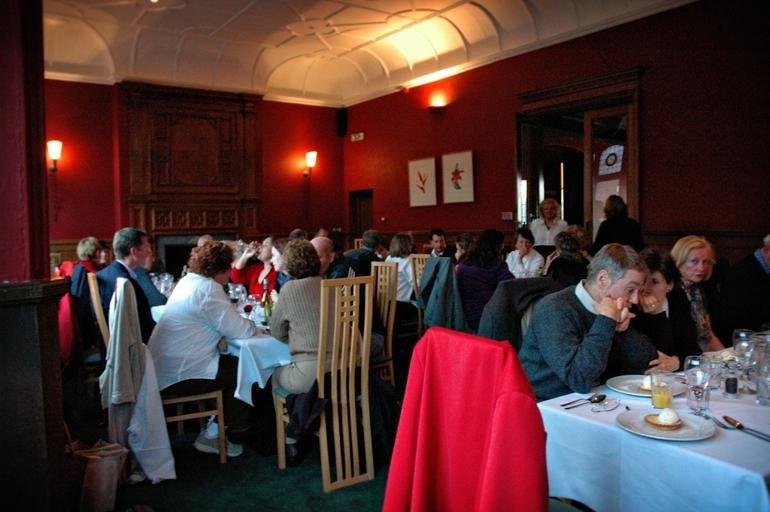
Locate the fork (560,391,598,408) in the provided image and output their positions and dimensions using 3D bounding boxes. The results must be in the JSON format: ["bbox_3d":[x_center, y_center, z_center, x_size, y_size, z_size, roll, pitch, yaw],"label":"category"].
[{"bbox_3d":[1.025,0.780,2.966,0.278,0.033,0.074,-4,7,-34],"label":"fork"}]

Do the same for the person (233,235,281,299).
[{"bbox_3d":[-1.308,0.143,5.717,0.366,0.936,0.294,-14,-27,31],"label":"person"}]

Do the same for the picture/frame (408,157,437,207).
[{"bbox_3d":[0.686,-1.336,10.095,0.072,1.159,0.827,4,-6,-41],"label":"picture/frame"}]

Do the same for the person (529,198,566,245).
[{"bbox_3d":[2.150,-0.455,7.563,0.703,0.696,0.392,-2,-3,35],"label":"person"}]

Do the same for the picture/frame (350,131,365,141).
[{"bbox_3d":[-0.565,-2.411,11.418,0.021,0.186,0.450,-4,4,-44],"label":"picture/frame"}]

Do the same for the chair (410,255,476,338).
[{"bbox_3d":[0.520,0.368,5.517,0.327,0.718,0.596,-3,4,-40],"label":"chair"}]

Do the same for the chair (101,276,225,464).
[{"bbox_3d":[-1.755,0.753,4.750,0.987,1.781,1.084,-4,5,-23],"label":"chair"}]

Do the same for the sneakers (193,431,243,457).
[{"bbox_3d":[-1.315,1.479,4.489,0.404,0.216,0.160,8,-8,-2],"label":"sneakers"}]

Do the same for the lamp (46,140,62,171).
[{"bbox_3d":[-5.401,-1.638,9.191,0.213,0.518,0.265,-2,3,-25],"label":"lamp"}]

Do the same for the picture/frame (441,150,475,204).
[{"bbox_3d":[1.241,-1.330,9.442,0.118,1.237,0.866,0,-1,-42],"label":"picture/frame"}]

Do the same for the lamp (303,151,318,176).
[{"bbox_3d":[-1.465,-1.869,11.395,0.206,0.488,0.332,1,4,33],"label":"lamp"}]

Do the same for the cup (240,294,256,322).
[{"bbox_3d":[-1.214,0.465,4.954,0.180,0.213,0.176,-1,6,0],"label":"cup"}]
